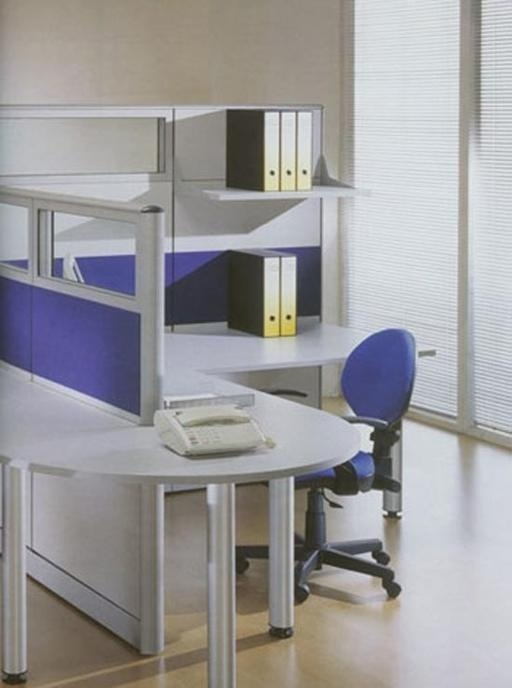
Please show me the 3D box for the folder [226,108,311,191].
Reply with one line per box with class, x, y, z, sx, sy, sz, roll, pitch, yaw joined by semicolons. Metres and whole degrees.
folder;0.052;-0.783;2.769;0.341;0.351;0.162;-11;23;-27
